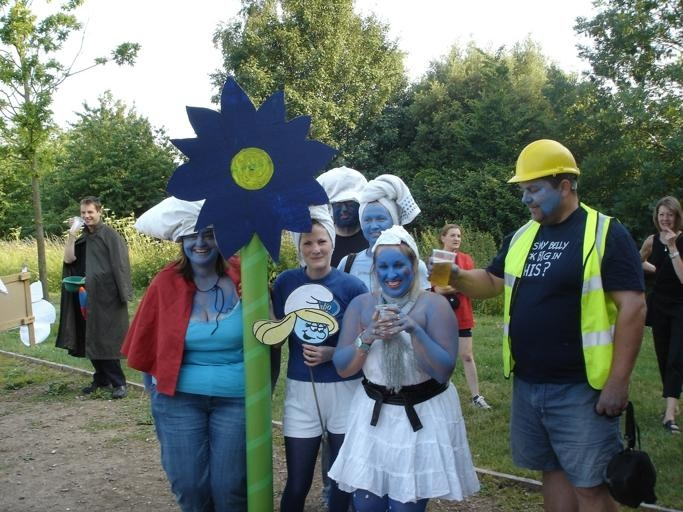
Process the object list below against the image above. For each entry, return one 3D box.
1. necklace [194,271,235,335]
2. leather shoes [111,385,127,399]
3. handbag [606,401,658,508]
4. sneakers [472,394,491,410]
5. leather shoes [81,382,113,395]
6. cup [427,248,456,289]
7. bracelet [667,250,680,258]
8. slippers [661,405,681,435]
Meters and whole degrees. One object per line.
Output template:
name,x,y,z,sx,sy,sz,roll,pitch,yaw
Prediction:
necklace,-0.930,0.352,4.625,0.319,0.428,0.134,2,-13,0
leather shoes,-2.947,1.806,8.445,0.114,0.107,0.250,0,-11,-2
handbag,2.007,1.405,4.392,0.297,0.779,0.444,4,11,31
sneakers,1.676,1.761,7.635,0.087,0.107,0.256,-3,-3,-24
leather shoes,-3.301,1.810,8.699,0.411,0.174,0.137,8,-11,-30
cup,0.719,0.087,4.680,0.255,0.303,0.231,10,-5,2
bracelet,3.647,-0.008,7.035,0.085,0.059,0.090,-1,-6,-33
slippers,3.578,1.814,6.956,0.119,0.094,0.339,-1,41,10
